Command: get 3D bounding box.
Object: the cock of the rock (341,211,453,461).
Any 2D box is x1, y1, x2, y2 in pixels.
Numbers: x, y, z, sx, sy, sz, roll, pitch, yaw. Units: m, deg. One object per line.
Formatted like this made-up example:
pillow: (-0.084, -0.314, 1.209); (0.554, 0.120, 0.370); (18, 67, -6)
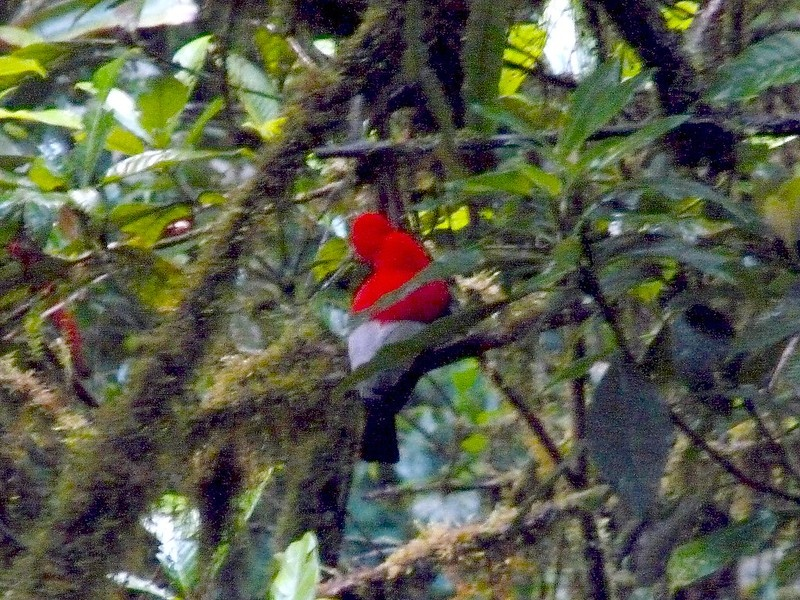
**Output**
cock of the rock: (0.000, 0.025, 1.824); (0.153, 0.354, 0.320); (2, -25, -2)
